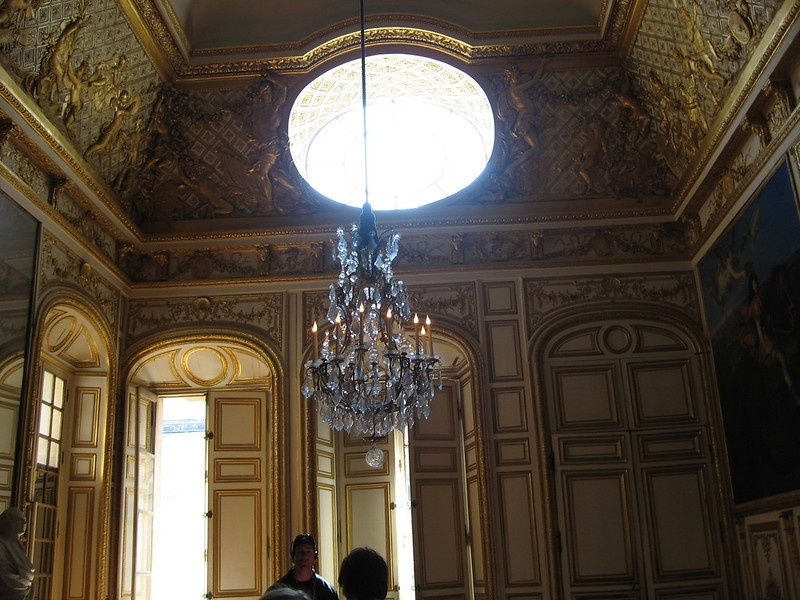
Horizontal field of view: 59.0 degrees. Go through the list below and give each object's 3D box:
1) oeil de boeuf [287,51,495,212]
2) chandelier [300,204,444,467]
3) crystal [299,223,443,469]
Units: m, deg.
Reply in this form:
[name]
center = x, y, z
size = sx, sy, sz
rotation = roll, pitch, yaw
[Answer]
[oeil de boeuf]
center = -0.146, -2.830, 11.910
size = 2.778, 3.117, 0.056
rotation = 0, -22, -1
[chandelier]
center = -0.337, 0.373, 7.480
size = 1.132, 2.768, 1.157
rotation = 6, 9, 41
[crystal]
center = -0.308, 0.285, 7.309
size = 1.312, 2.051, 0.926
rotation = 1, -22, -9
